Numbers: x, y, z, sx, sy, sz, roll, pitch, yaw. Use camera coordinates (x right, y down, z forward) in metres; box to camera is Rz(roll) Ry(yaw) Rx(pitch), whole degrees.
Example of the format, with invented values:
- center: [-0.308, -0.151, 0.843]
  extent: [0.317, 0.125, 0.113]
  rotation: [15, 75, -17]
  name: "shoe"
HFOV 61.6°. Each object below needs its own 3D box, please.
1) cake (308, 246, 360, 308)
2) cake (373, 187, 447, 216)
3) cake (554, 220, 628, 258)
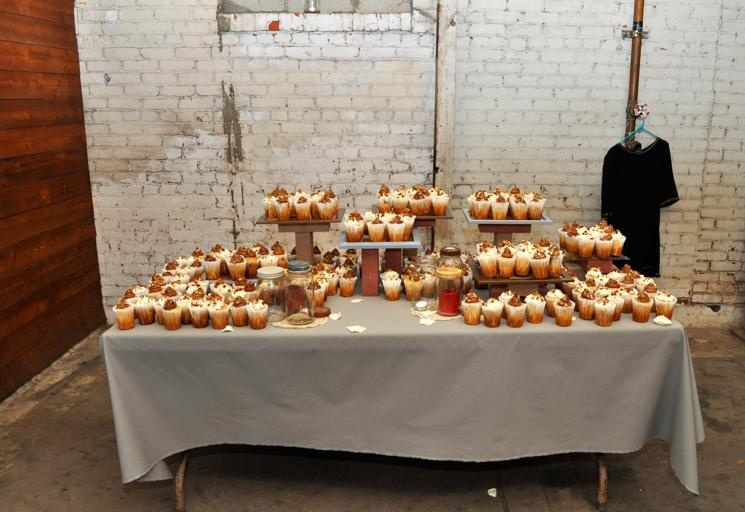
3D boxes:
- center: [-0.251, 0.152, 4.217]
  extent: [0.307, 0.149, 0.425]
  rotation: [0, 12, 2]
  name: "cake"
- center: [0.248, -0.369, 4.291]
  extent: [0.394, 0.126, 0.395]
  rotation: [0, 4, -7]
  name: "cake"
- center: [1.432, -0.126, 4.221]
  extent: [0.319, 0.132, 0.329]
  rotation: [1, 8, 7]
  name: "cake"
